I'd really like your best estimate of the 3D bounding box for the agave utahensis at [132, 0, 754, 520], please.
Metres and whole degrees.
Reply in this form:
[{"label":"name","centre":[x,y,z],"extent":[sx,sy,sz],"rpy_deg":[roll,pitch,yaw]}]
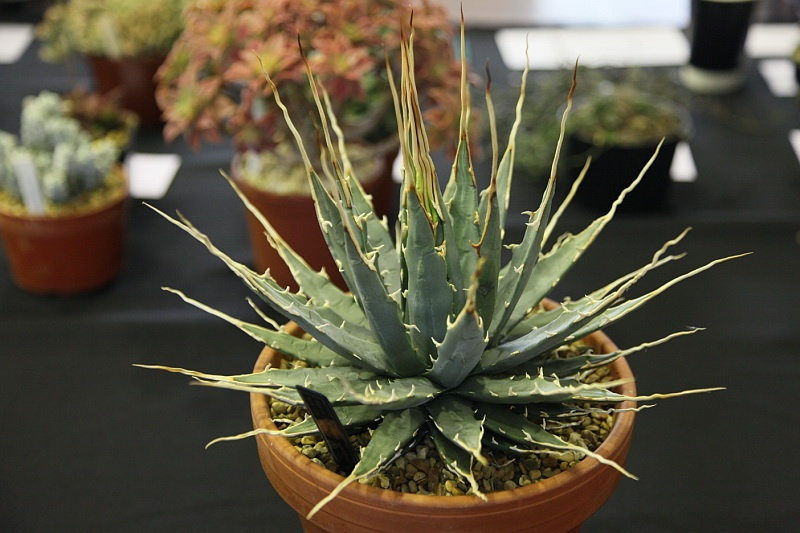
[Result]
[{"label":"agave utahensis","centre":[0.022,-0.019,1.676],"extent":[0.862,0.945,0.582],"rpy_deg":[0,85,1]}]
